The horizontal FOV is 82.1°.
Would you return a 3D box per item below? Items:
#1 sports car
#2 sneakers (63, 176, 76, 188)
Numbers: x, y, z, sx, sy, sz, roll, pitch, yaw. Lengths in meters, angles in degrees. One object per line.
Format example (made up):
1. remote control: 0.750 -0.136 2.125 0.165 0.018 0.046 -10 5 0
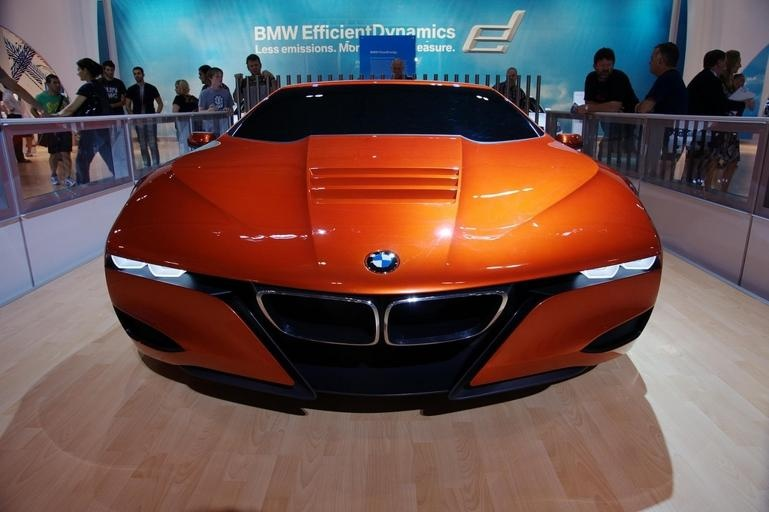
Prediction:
1. sports car: 0.074 -0.782 3.401 2.597 1.129 3.989 0 27 6
2. sneakers: -2.655 -0.626 3.719 0.077 0.088 0.208 0 13 -10
